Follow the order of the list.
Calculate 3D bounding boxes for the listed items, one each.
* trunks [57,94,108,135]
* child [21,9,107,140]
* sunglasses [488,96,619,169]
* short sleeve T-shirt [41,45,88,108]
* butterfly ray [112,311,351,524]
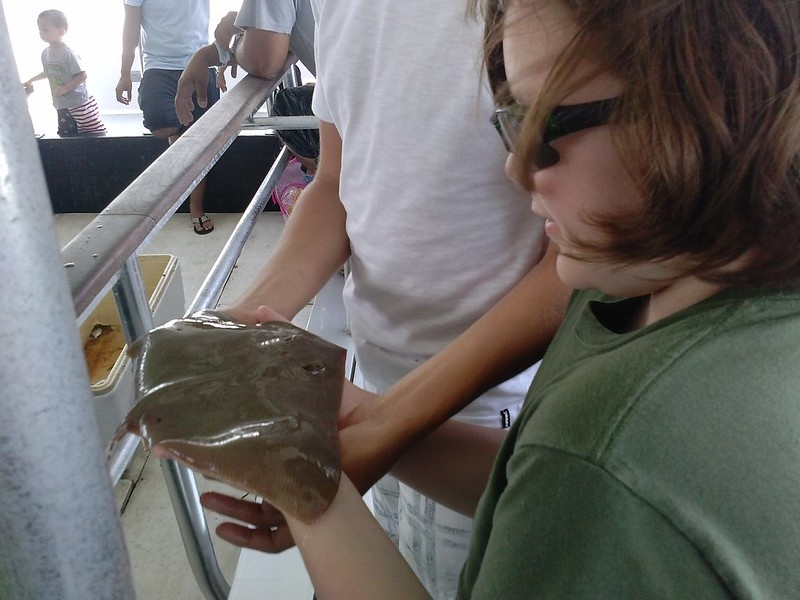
[{"bbox_3d":[-2.930,-1.644,5.595,0.415,0.266,0.397,-11,76,-5],"label":"trunks"},{"bbox_3d":[-3.040,-1.873,5.577,0.745,1.287,0.432,-8,25,-36],"label":"child"},{"bbox_3d":[0.168,-0.170,0.634,0.090,0.031,0.091,-16,10,2],"label":"sunglasses"},{"bbox_3d":[-3.010,-2.008,5.544,0.319,0.499,0.600,-11,33,-26],"label":"short sleeve T-shirt"},{"bbox_3d":[-0.231,0.129,0.880,0.295,0.070,0.415,12,29,-28],"label":"butterfly ray"}]
